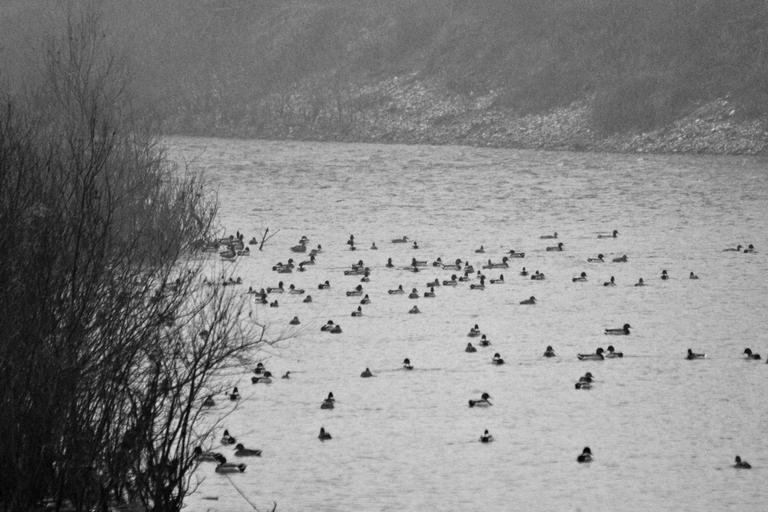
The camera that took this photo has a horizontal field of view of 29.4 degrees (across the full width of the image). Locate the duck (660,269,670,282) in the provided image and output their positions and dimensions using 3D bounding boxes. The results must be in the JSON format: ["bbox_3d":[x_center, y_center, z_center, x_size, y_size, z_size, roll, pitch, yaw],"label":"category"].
[{"bbox_3d":[9.689,0.711,50.281,0.273,0.380,0.391,8,15,19],"label":"duck"}]

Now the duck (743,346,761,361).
[{"bbox_3d":[11.207,3.004,44.505,0.215,0.346,0.799,1,13,-15],"label":"duck"}]

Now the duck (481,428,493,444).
[{"bbox_3d":[2.907,5.050,41.119,0.403,0.218,0.511,5,37,1],"label":"duck"}]

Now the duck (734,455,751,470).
[{"bbox_3d":[9.951,5.709,40.307,0.468,0.245,0.377,9,37,7],"label":"duck"}]

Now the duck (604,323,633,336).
[{"bbox_3d":[7.417,2.383,46.122,0.875,0.398,0.375,-5,11,-5],"label":"duck"}]

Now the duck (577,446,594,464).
[{"bbox_3d":[5.616,5.529,40.464,0.345,0.222,0.479,6,25,22],"label":"duck"}]
